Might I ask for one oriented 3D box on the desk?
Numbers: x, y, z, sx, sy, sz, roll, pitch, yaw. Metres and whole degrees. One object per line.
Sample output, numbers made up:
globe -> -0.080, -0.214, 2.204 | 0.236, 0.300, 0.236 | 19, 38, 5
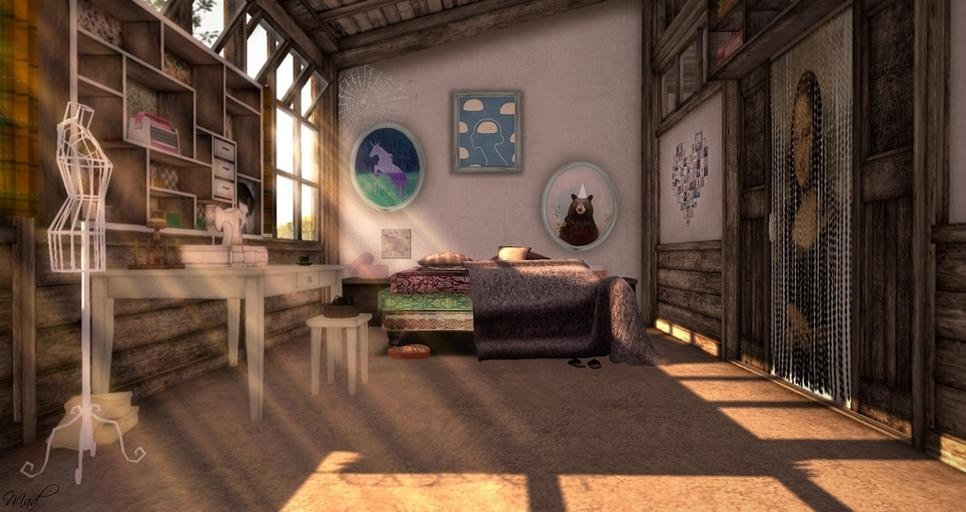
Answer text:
desk -> -2.202, 0.828, 4.672 | 1.281, 0.944, 2.003 | 0, -1, 4

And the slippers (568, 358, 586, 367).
slippers -> 0.934, 1.040, 5.412 | 0.168, 0.066, 0.218 | 1, 10, 6
